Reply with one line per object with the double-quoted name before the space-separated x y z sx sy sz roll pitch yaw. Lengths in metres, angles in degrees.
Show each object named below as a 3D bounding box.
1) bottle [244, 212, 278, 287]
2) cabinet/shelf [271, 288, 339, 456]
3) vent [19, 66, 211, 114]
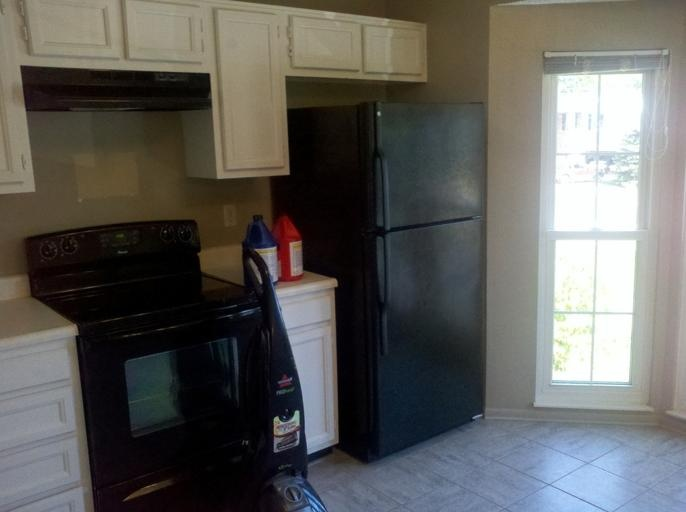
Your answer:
"bottle" -0.439 -0.032 3.054 0.179 0.368 0.305 -3 13 -9
"cabinet/shelf" -0.168 0.632 3.178 0.348 0.945 0.101 -11 16 -38
"vent" -1.054 -0.802 2.717 0.844 0.186 0.067 -9 15 -31
